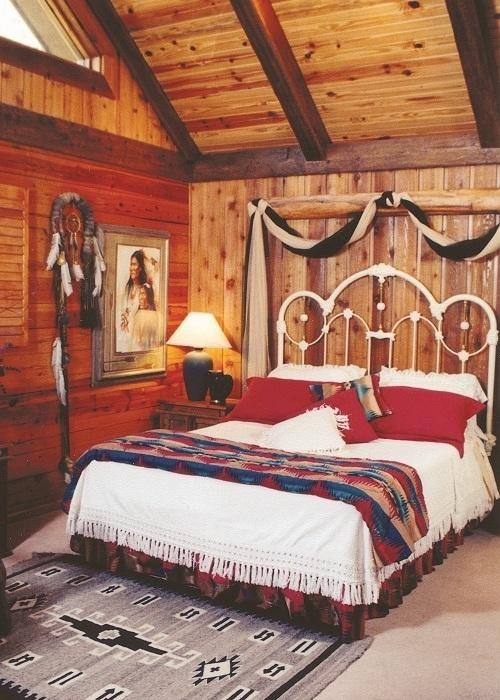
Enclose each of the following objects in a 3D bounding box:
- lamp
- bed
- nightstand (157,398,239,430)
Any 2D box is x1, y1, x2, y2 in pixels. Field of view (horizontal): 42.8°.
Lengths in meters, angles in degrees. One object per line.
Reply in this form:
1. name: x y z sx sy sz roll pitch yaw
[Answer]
1. lamp: -0.401 0.058 5.049 0.556 0.664 0.519 4 2 10
2. bed: 0.368 0.435 3.180 1.263 1.042 1.511 3 6 37
3. nightstand: -0.406 0.386 4.752 0.436 0.376 0.279 2 3 34
